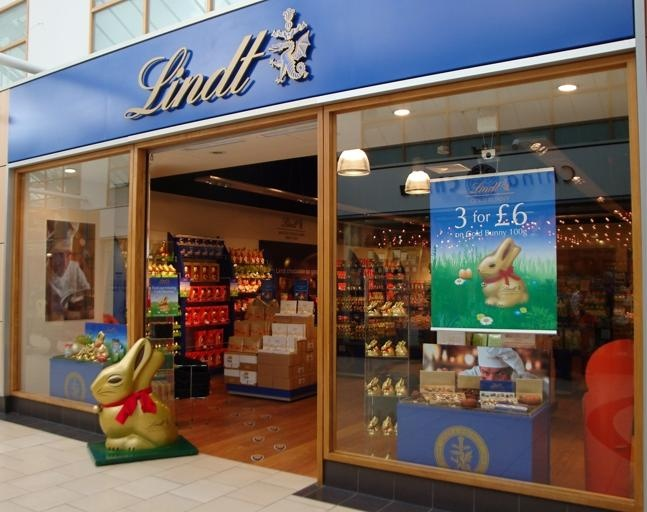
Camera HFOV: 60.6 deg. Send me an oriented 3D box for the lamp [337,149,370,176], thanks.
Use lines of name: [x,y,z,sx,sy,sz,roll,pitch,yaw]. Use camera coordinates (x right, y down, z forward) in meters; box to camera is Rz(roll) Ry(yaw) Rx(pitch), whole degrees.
lamp: [0.268,-0.799,4.875,0.241,0.184,0.241,0,-7,3]

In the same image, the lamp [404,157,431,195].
lamp: [0.770,-0.649,4.583,0.267,0.291,0.268,-1,0,41]

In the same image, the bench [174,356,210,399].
bench: [-1.723,1.614,7.399,0.428,0.495,0.703,1,-5,-8]

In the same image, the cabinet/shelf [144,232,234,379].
cabinet/shelf: [-2.301,0.904,9.925,0.808,2.570,2.173,0,-2,9]

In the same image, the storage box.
storage box: [-0.705,1.450,9.094,1.527,1.491,1.421,-3,-7,31]
